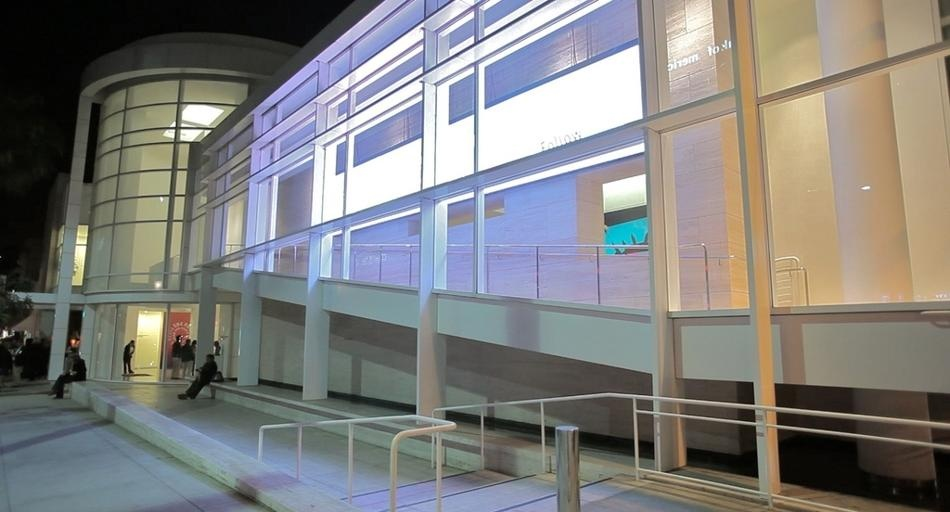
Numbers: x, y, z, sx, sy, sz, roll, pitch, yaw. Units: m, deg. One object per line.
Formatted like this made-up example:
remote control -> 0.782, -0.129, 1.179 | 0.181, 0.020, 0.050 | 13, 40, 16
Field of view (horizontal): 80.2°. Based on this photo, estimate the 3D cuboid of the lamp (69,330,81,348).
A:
lamp -> -28.002, 5.809, 39.411 | 0.550, 0.931, 3.475 | 5, -8, -36

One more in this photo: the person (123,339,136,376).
person -> -18.710, 5.492, 30.485 | 0.544, 1.922, 1.177 | 4, -9, -29

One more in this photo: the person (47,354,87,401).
person -> -18.338, 5.513, 25.323 | 1.601, 2.097, 0.908 | 26, -64, -42
